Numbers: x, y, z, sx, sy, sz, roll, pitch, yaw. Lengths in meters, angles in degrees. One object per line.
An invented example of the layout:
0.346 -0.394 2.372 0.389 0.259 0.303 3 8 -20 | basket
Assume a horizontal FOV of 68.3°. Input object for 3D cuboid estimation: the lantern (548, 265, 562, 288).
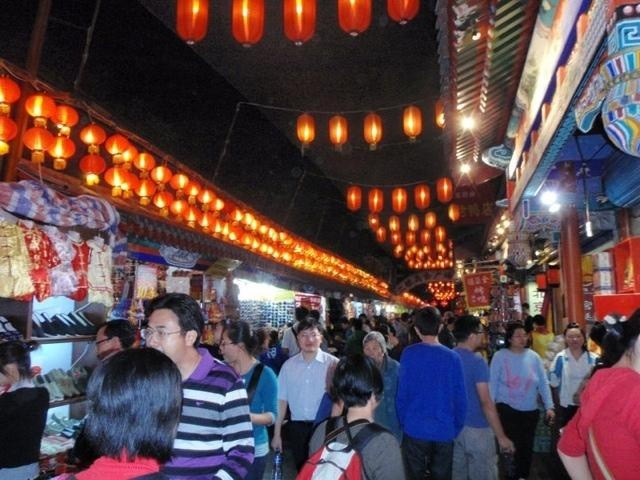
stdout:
5.454 0.847 10.993 0.262 0.425 0.742 -4 -12 24 | lantern
